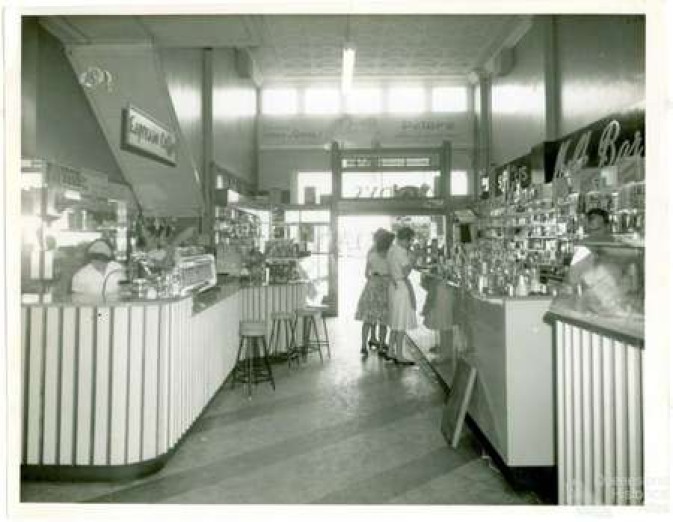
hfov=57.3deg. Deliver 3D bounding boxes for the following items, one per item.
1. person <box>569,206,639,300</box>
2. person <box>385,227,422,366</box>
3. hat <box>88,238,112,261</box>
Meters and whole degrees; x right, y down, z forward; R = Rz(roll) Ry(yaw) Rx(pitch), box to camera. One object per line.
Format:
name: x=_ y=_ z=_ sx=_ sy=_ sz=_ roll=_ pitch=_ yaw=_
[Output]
person: x=2.015 y=-0.116 z=4.745 sx=0.531 sy=0.835 sz=0.511 roll=-3 pitch=40 yaw=20
person: x=0.827 y=0.451 z=7.930 sx=0.375 sy=1.762 sz=0.800 roll=1 pitch=7 yaw=6
hat: x=-2.200 y=-0.109 z=5.748 sx=0.156 sy=0.187 sz=0.219 roll=10 pitch=25 yaw=-7
